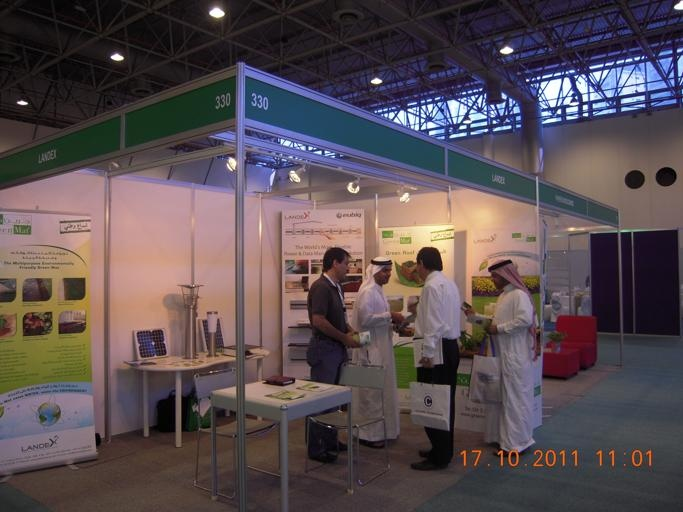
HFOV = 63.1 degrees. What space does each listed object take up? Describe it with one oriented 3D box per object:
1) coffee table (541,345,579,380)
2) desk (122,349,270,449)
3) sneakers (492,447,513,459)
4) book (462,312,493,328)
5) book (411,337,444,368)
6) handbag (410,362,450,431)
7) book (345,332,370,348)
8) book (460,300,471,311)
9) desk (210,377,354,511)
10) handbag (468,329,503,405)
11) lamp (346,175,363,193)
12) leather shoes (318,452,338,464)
[{"bbox_3d":[3.806,1.855,9.665,0.517,0.437,0.631,1,4,32],"label":"coffee table"},{"bbox_3d":[-1.897,1.873,6.769,0.959,1.049,2.164,0,-3,24],"label":"desk"},{"bbox_3d":[1.746,2.137,6.036,0.084,0.091,0.230,6,-7,-39],"label":"sneakers"},{"bbox_3d":[1.500,0.713,6.209,0.219,0.084,0.163,2,0,43],"label":"book"},{"bbox_3d":[0.911,1.018,5.853,0.072,0.301,0.298,-4,-5,-42],"label":"book"},{"bbox_3d":[0.890,1.493,5.568,0.184,0.457,0.463,-3,-2,-44],"label":"handbag"},{"bbox_3d":[0.171,0.861,5.689,0.226,0.134,0.224,-5,-19,-1],"label":"book"},{"bbox_3d":[1.383,0.552,6.184,0.111,0.106,0.031,38,-4,-8],"label":"book"},{"bbox_3d":[-0.548,1.713,5.205,1.063,1.040,1.062,2,4,38],"label":"desk"},{"bbox_3d":[1.581,1.266,6.098,0.342,0.784,0.217,0,3,2],"label":"handbag"},{"bbox_3d":[0.151,-0.906,6.964,0.192,0.097,0.272,-3,-23,3],"label":"lamp"},{"bbox_3d":[-0.133,2.143,5.905,0.128,0.052,0.124,1,0,19],"label":"leather shoes"}]
